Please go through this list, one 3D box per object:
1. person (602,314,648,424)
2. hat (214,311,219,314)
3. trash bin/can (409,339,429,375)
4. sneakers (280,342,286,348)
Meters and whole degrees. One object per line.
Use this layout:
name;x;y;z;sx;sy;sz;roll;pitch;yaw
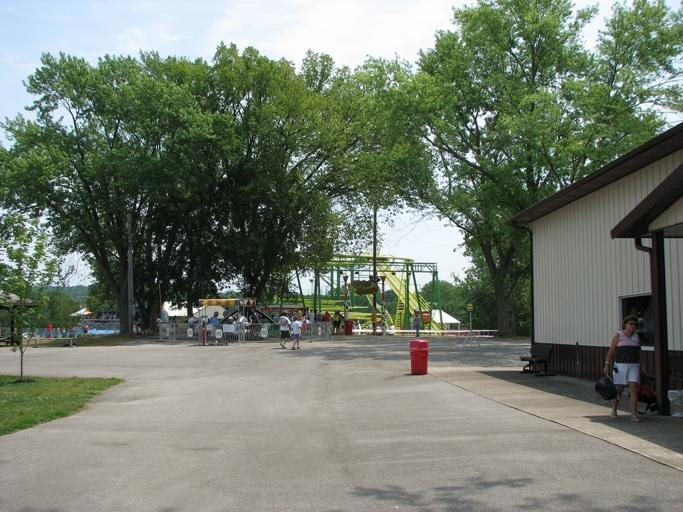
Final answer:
person;6.290;2.495;14.536;0.734;2.288;0.593;-4;-7;25
hat;-7.982;3.697;41.853;0.308;0.283;0.293;3;-6;-20
trash bin/can;2.742;3.549;22.891;0.569;1.203;0.811;-1;-7;1
sneakers;-3.216;5.042;36.435;0.203;0.260;0.656;5;-17;15
